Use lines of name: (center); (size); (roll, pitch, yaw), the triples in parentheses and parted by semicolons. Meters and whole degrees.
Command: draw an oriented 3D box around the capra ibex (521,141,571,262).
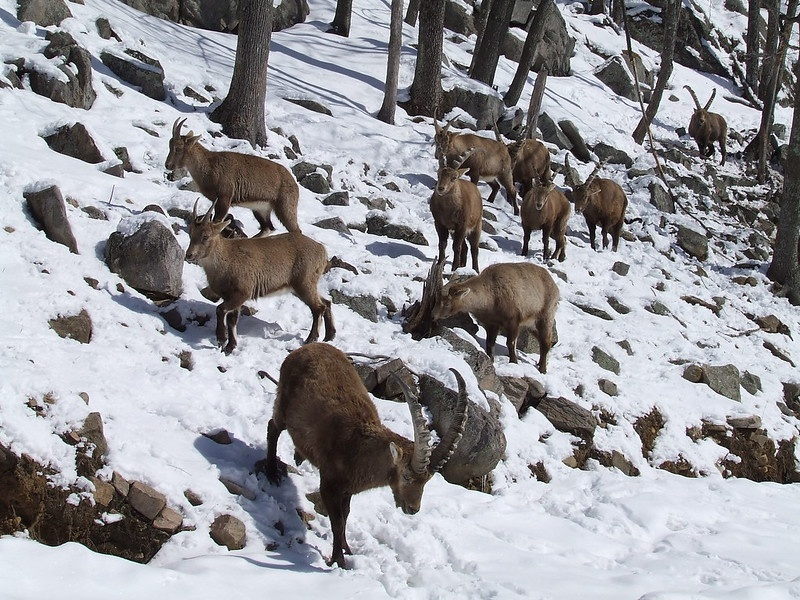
capra ibex: (3.274, -1.793, 19.223); (1.134, 1.775, 0.968); (3, 14, -34)
